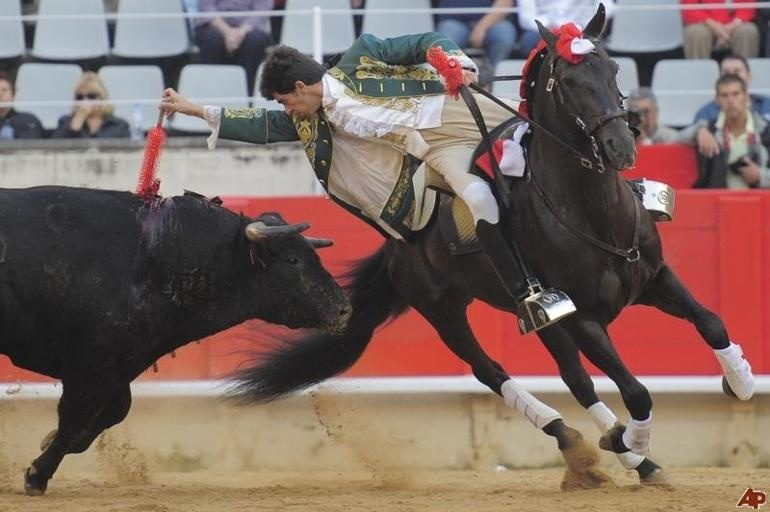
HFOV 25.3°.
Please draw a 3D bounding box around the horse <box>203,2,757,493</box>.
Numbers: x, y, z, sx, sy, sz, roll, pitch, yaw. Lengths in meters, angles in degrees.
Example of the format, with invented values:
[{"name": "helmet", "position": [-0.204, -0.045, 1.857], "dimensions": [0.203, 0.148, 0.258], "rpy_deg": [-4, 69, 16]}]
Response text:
[{"name": "horse", "position": [0.862, -0.036, 10.885], "dimensions": [2.746, 3.043, 0.801], "rpy_deg": [5, 12, 31]}]
